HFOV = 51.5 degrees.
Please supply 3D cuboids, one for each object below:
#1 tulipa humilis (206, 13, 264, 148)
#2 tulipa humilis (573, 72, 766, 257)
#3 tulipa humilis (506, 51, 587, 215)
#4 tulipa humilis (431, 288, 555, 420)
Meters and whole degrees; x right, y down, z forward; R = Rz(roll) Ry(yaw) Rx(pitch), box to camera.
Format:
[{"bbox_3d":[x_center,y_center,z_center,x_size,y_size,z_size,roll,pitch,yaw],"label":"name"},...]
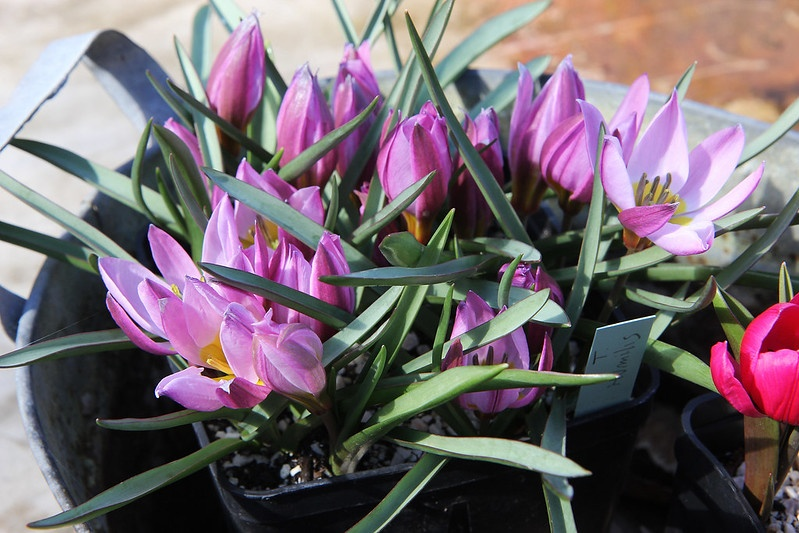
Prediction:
[{"bbox_3d":[-0.236,-0.257,1.177,0.075,0.249,0.075,-13,50,-26],"label":"tulipa humilis"},{"bbox_3d":[0.332,-0.132,1.065,0.200,0.168,0.245,17,54,-9],"label":"tulipa humilis"},{"bbox_3d":[0.204,-0.175,1.154,0.117,0.206,0.066,-23,33,-16],"label":"tulipa humilis"},{"bbox_3d":[0.134,0.136,1.036,0.127,0.142,0.098,-10,8,-19],"label":"tulipa humilis"}]
